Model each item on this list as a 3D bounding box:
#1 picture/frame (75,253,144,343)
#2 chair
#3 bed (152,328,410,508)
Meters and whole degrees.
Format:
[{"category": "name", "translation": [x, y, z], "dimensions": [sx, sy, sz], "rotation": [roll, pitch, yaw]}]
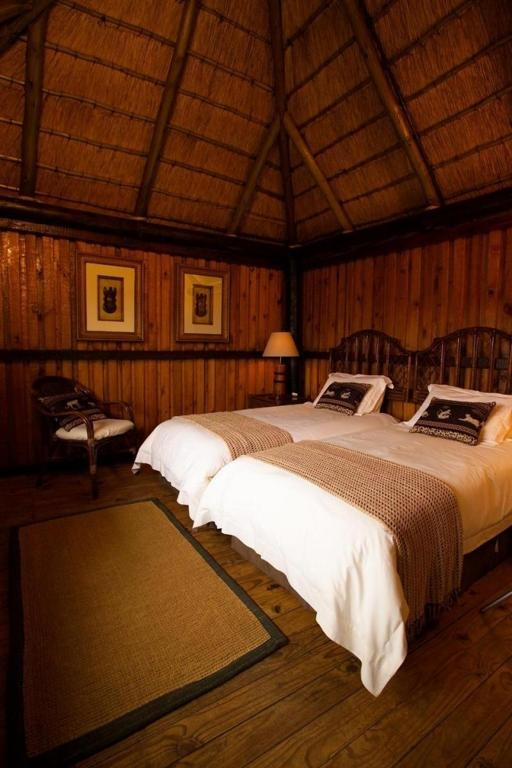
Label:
[{"category": "picture/frame", "translation": [-1.282, -0.741, 4.195], "dimensions": [0.750, 0.981, 0.101], "rotation": [-2, 5, -36]}, {"category": "chair", "translation": [-1.277, 0.340, 4.002], "dimensions": [0.782, 1.109, 0.795], "rotation": [2, 8, 22]}, {"category": "bed", "translation": [0.263, 0.241, 3.529], "dimensions": [1.682, 1.075, 1.251], "rotation": [-2, 1, -26]}]
